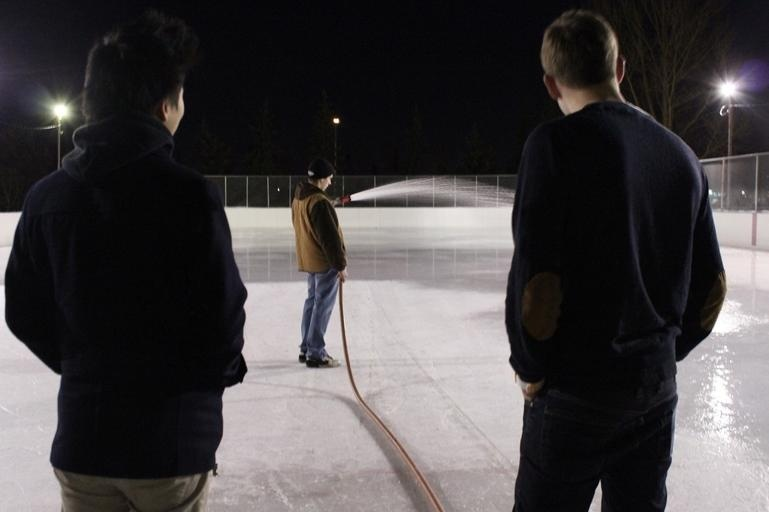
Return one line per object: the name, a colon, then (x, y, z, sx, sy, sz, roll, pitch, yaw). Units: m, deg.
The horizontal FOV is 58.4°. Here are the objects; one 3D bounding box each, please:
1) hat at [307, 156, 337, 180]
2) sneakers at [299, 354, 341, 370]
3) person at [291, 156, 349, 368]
hat: (-0.578, -0.793, 6.257, 0.191, 0.169, 0.204, -3, 7, 16)
sneakers: (-0.564, 0.902, 6.092, 0.366, 0.195, 0.134, -3, 2, -5)
person: (-0.584, 0.025, 6.248, 0.466, 1.790, 0.817, -1, 7, -7)
